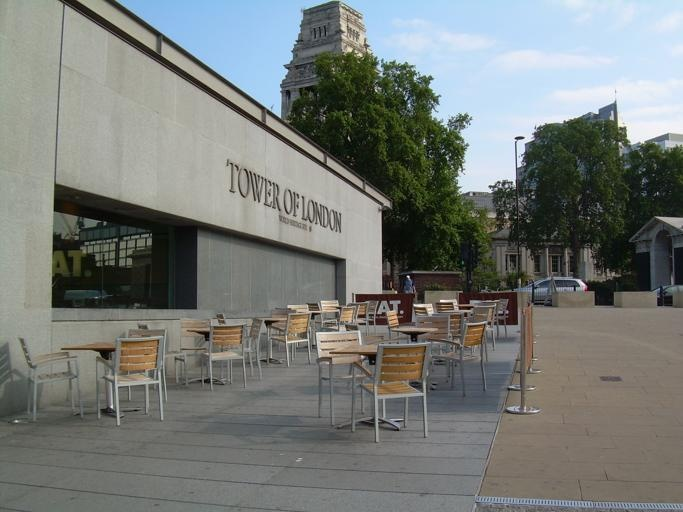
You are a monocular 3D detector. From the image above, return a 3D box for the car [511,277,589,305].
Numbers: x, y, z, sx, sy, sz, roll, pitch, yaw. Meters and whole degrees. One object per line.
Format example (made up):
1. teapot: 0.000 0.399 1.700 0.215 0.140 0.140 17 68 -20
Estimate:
1. car: 12.292 2.102 40.773 3.349 1.293 1.588 1 -4 4
